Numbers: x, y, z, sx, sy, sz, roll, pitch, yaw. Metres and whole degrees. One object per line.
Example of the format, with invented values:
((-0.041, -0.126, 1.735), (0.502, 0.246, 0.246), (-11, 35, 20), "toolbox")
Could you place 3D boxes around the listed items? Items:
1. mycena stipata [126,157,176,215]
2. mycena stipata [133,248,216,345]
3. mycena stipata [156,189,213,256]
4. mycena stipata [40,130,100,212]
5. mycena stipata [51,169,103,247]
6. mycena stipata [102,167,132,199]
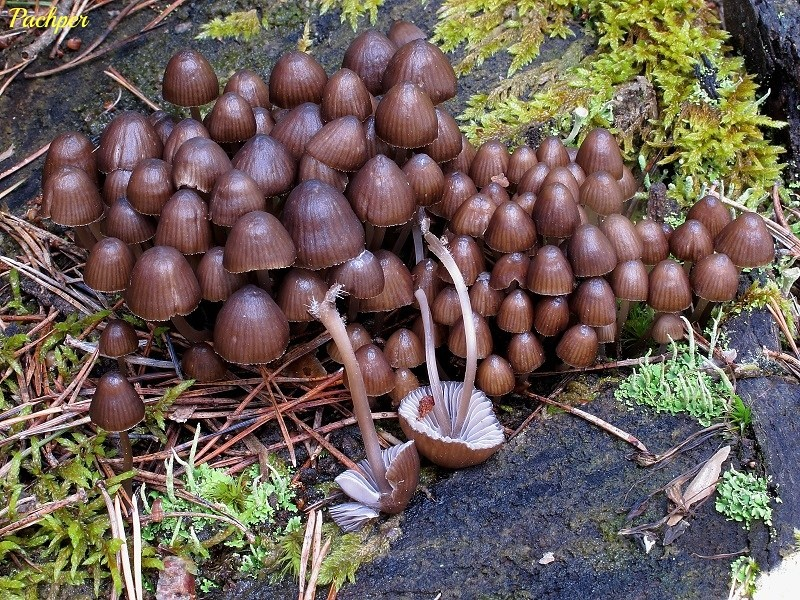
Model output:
((-1.426, -0.665, 4.490), (0.282, 0.324, 0.293), (-9, 45, -24), "mycena stipata")
((-1.309, -0.029, 4.308), (0.399, 0.609, 0.376), (-25, 57, -24), "mycena stipata")
((-1.249, -0.491, 4.442), (0.315, 0.370, 0.327), (6, 28, -10), "mycena stipata")
((-2.091, -0.862, 4.846), (0.400, 0.442, 0.418), (-14, 48, -35), "mycena stipata")
((-1.947, -0.605, 4.525), (0.297, 0.219, 0.290), (-20, 64, -20), "mycena stipata")
((-1.726, -0.692, 4.638), (0.183, 0.205, 0.182), (3, 25, -27), "mycena stipata")
